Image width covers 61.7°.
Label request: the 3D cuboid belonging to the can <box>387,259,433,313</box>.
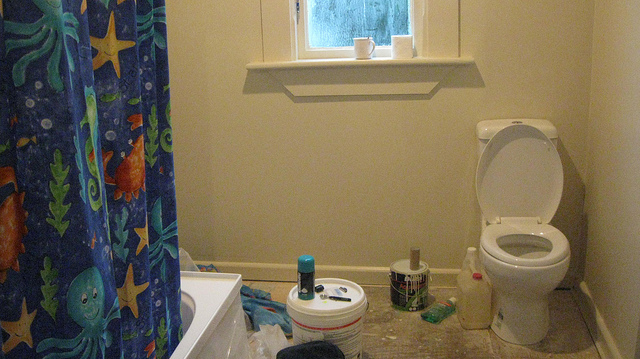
[{"bbox_3d":[0.528,0.619,3.134,0.222,0.251,0.197,0,24,7],"label":"can"}]

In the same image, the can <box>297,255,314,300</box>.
[{"bbox_3d":[-0.067,0.482,2.617,0.084,0.178,0.114,-3,24,-1],"label":"can"}]

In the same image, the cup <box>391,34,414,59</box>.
[{"bbox_3d":[0.484,-0.773,3.114,0.117,0.120,0.121,-2,24,1],"label":"cup"}]

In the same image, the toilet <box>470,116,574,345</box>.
[{"bbox_3d":[1.124,0.244,2.973,0.573,1.027,0.804,5,25,16],"label":"toilet"}]

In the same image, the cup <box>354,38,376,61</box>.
[{"bbox_3d":[0.279,-0.772,3.171,0.134,0.132,0.089,-3,-6,30],"label":"cup"}]
